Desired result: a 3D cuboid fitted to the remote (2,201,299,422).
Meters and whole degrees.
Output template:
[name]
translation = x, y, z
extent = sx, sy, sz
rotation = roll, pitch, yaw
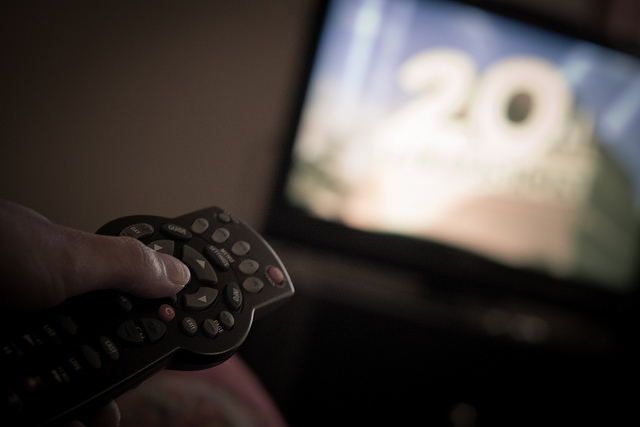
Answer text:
[remote]
translation = -0.134, 0.076, 0.450
extent = 0.226, 0.025, 0.130
rotation = -23, 68, -37
